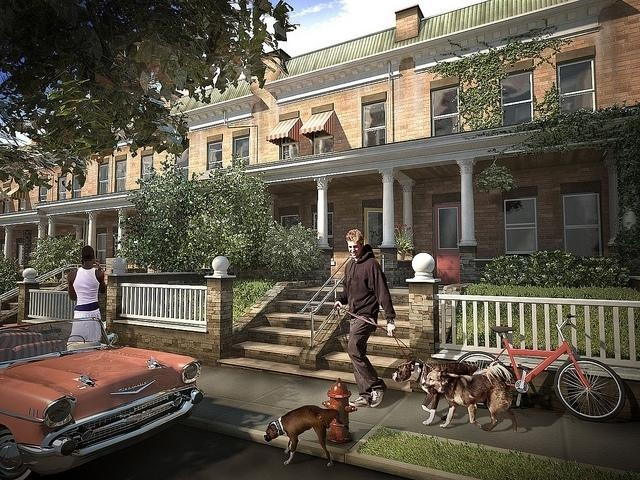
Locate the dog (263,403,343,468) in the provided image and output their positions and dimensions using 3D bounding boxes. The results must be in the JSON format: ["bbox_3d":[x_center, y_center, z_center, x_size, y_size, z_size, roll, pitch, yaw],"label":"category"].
[{"bbox_3d":[-0.237,2.785,6.967,1.226,0.741,0.400,-11,0,18],"label":"dog"}]

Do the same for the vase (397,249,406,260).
[{"bbox_3d":[2.759,0.502,16.417,0.309,0.284,0.304,3,-3,-17],"label":"vase"}]
